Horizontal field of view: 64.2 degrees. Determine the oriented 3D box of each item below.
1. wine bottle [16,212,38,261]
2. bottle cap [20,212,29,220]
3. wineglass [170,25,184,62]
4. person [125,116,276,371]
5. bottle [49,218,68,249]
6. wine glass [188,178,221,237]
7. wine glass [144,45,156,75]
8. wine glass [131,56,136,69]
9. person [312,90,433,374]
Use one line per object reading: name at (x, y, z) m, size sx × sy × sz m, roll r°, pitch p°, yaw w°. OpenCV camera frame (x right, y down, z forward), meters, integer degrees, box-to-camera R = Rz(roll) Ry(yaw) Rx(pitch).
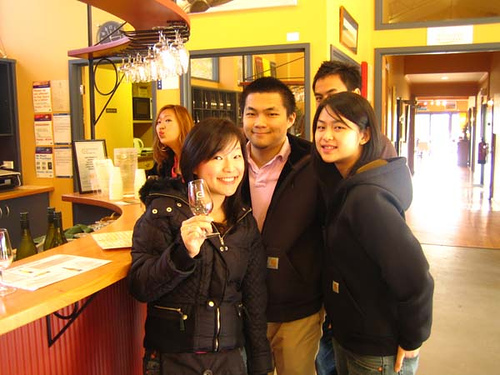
wine bottle at (-1.274, 0.286, 2.277) m, size 0.087 × 0.337 × 0.151 m, roll -2°, pitch 13°, yaw -19°
bottle cap at (-1.230, 0.155, 2.170) m, size 0.031 × 0.040 × 0.042 m, roll -6°, pitch 12°, yaw -27°
wineglass at (-0.533, -1.053, 2.898) m, size 0.101 × 0.212 × 0.298 m, roll -3°, pitch 11°, yaw -10°
person at (-0.220, 0.305, 1.812) m, size 0.667 × 1.223 × 0.439 m, roll -4°, pitch 11°, yaw -18°
bottle at (-1.180, 0.263, 2.449) m, size 0.102 × 0.222 × 0.273 m, roll -6°, pitch 12°, yaw -26°
wine glass at (-0.217, 0.040, 1.743) m, size 0.101 × 0.168 × 0.150 m, roll -2°, pitch 11°, yaw -8°
wine glass at (-0.807, -1.041, 3.221) m, size 0.087 × 0.192 × 0.226 m, roll -3°, pitch 11°, yaw -14°
wine glass at (-0.998, -1.083, 3.421) m, size 0.040 × 0.101 × 0.071 m, roll -4°, pitch 11°, yaw -15°
person at (0.559, 0.259, 1.897) m, size 0.383 × 1.421 × 0.602 m, roll -5°, pitch 11°, yaw -23°
